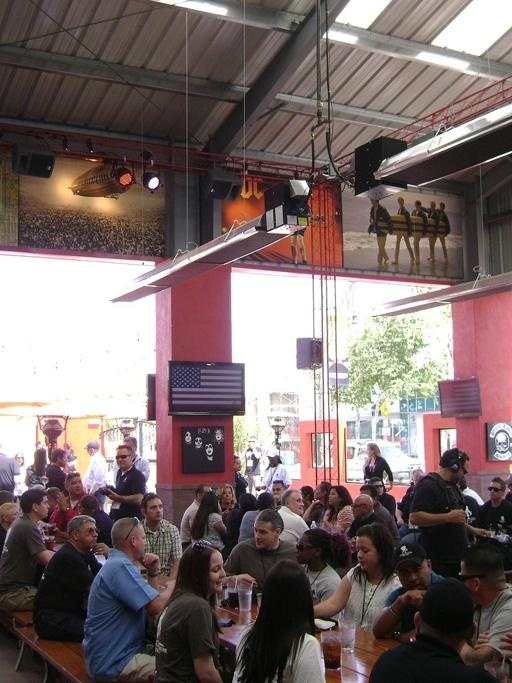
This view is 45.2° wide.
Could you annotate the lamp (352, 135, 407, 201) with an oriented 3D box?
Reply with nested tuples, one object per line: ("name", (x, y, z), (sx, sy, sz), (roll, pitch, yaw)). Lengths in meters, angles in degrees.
("lamp", (0.858, -1.249, 4.317), (0.500, 0.349, 0.216), (-4, -4, 44))

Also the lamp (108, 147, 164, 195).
("lamp", (-1.842, -2.567, 9.231), (0.871, 0.737, 0.333), (-5, 6, -34))

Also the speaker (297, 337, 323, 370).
("speaker", (0.919, 0.213, 10.700), (0.522, 0.550, 0.360), (-2, -3, 13))

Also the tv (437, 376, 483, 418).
("tv", (4.061, 1.095, 12.122), (0.088, 0.697, 0.851), (4, -6, -40))

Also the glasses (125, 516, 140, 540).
("glasses", (-0.649, 0.961, 3.229), (0.063, 0.080, 0.196), (-1, -3, -10))

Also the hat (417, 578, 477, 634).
("hat", (0.458, 0.609, 1.457), (0.101, 0.081, 0.136), (1, 16, 5))

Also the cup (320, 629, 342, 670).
("cup", (0.306, 1.249, 2.498), (0.073, 0.144, 0.097), (-1, -3, 4))

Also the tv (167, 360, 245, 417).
("tv", (-0.854, 0.750, 9.764), (0.985, 0.609, 0.096), (3, -12, -24))

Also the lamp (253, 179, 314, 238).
("lamp", (0.247, -1.097, 5.200), (0.351, 0.362, 0.518), (2, -2, -24))

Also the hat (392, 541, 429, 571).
("hat", (0.747, 1.036, 2.986), (0.145, 0.121, 0.231), (-2, -3, 12))

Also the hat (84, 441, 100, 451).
("hat", (-2.887, 1.842, 10.643), (0.275, 0.151, 0.192), (9, 3, 21))

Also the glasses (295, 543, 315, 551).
("glasses", (0.271, 1.159, 3.490), (0.071, 0.021, 0.052), (7, -14, -26))
